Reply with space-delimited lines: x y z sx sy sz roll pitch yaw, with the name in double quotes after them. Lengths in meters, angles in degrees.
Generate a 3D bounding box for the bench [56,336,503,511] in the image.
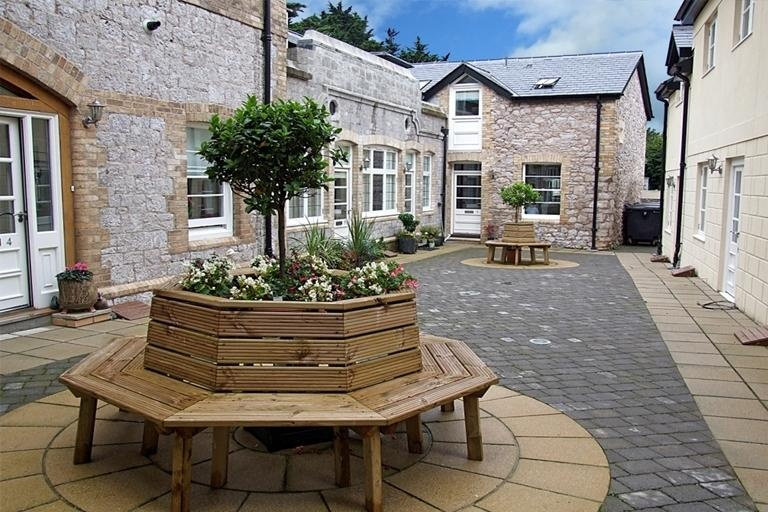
-0.855 1.283 4.291 3.433 0.783 1.619 4 10 7 "bench"

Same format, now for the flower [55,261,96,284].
-4.509 0.215 7.614 0.372 0.172 0.361 6 8 34 "flower"

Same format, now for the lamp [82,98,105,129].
-4.326 -2.107 7.804 0.171 0.425 0.269 13 15 39 "lamp"

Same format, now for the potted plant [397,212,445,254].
1.105 -0.837 17.342 1.037 1.246 2.466 7 11 18 "potted plant"

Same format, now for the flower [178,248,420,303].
-0.765 0.178 4.515 1.967 0.314 1.007 3 10 5 "flower"

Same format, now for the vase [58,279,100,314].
-4.417 0.573 7.606 0.568 0.448 0.505 1 -2 -12 "vase"
